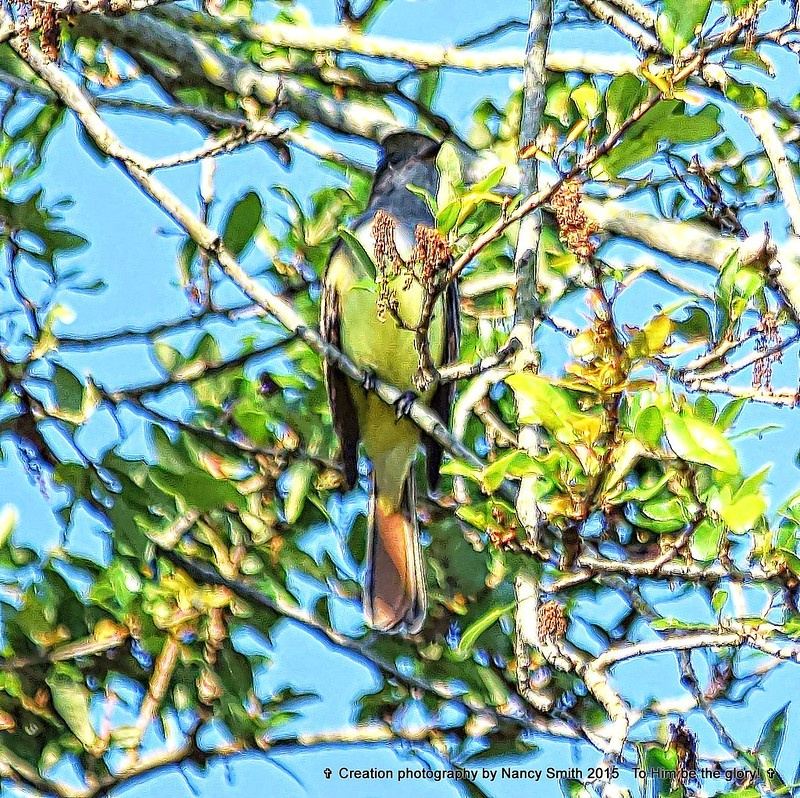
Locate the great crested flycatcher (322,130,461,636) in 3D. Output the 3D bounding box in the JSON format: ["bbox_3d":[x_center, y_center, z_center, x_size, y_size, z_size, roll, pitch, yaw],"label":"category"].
[{"bbox_3d":[-0.032,-0.017,5.339,0.338,0.420,1.477,-1,-74,-12],"label":"great crested flycatcher"}]
